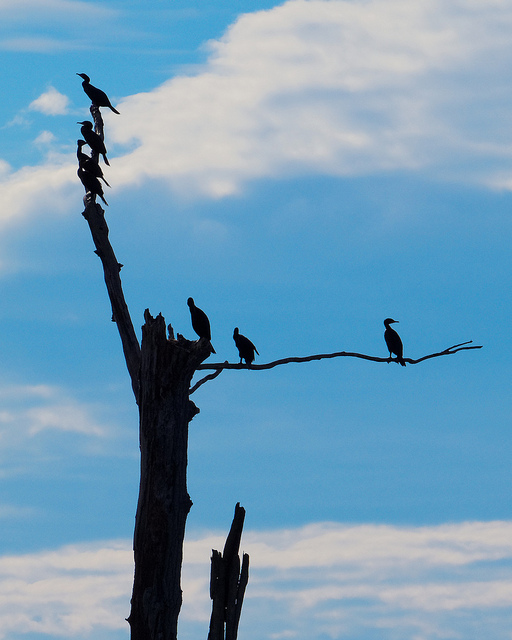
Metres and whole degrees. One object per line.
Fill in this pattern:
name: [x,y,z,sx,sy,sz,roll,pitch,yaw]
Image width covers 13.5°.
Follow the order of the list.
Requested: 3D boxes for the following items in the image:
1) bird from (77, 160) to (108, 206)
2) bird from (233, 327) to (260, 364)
bird: [-2.166,-1.814,28.259,0.374,0.695,0.572,6,-16,-6]
bird: [-0.202,0.389,29.287,0.275,0.534,0.515,4,-16,-2]
